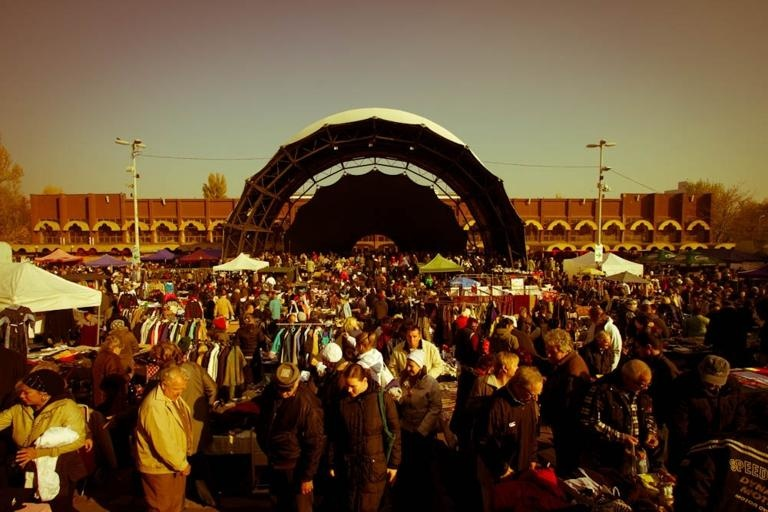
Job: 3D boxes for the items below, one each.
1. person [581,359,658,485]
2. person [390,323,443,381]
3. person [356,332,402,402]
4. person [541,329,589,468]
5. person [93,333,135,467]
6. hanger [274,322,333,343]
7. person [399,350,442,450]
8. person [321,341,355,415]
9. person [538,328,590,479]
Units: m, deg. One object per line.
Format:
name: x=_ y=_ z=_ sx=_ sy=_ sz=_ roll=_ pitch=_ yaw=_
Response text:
person: x=4.025 y=2.840 z=10.395 sx=1.017 sy=2.158 sz=0.936 roll=-2 pitch=-2 yaw=-2
person: x=0.667 y=1.996 z=11.892 sx=0.978 sy=1.212 sz=0.734 roll=2 pitch=1 yaw=1
person: x=-0.165 y=2.180 z=11.488 sx=0.949 sy=1.548 sz=0.680 roll=-8 pitch=22 yaw=-5
person: x=3.268 y=2.600 z=10.945 sx=0.846 sy=2.465 sz=1.014 roll=0 pitch=1 yaw=-5
person: x=-5.352 y=3.111 z=12.385 sx=0.822 sy=2.778 sz=0.983 roll=-6 pitch=-4 yaw=-39
hanger: x=-2.090 y=1.981 z=14.964 sx=1.803 sy=0.659 sz=0.536 roll=-1 pitch=-2 yaw=-4
person: x=0.674 y=2.577 z=11.072 sx=0.789 sy=1.589 sz=0.646 roll=1 pitch=-2 yaw=1
person: x=-0.900 y=2.207 z=10.780 sx=0.484 sy=1.212 sz=0.420 roll=2 pitch=-1 yaw=4
person: x=3.336 y=2.918 z=11.224 sx=0.942 sy=2.829 sz=1.174 roll=2 pitch=5 yaw=4
